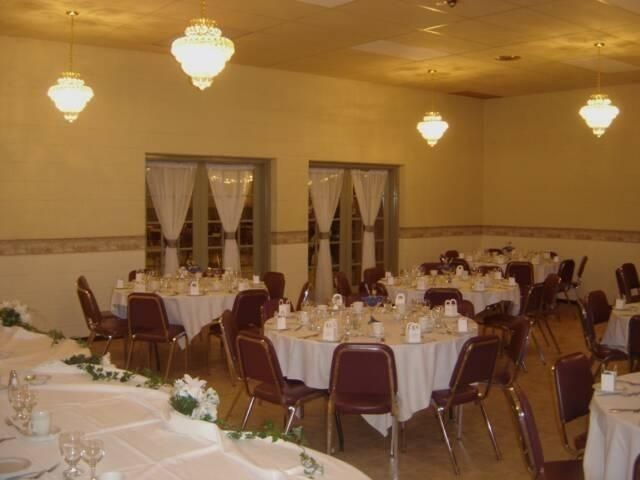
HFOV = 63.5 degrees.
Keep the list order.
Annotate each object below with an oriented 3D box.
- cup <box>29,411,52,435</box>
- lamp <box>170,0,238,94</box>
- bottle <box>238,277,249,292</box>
[{"bbox_3d":[-1.429,0.937,2.630,0.074,0.120,0.120,1,-7,-10],"label":"cup"},{"bbox_3d":[-1.123,-1.765,4.861,0.520,0.581,0.313,1,3,19],"label":"lamp"},{"bbox_3d":[-1.108,0.630,7.308,0.125,0.183,0.179,-2,-1,12],"label":"bottle"}]
